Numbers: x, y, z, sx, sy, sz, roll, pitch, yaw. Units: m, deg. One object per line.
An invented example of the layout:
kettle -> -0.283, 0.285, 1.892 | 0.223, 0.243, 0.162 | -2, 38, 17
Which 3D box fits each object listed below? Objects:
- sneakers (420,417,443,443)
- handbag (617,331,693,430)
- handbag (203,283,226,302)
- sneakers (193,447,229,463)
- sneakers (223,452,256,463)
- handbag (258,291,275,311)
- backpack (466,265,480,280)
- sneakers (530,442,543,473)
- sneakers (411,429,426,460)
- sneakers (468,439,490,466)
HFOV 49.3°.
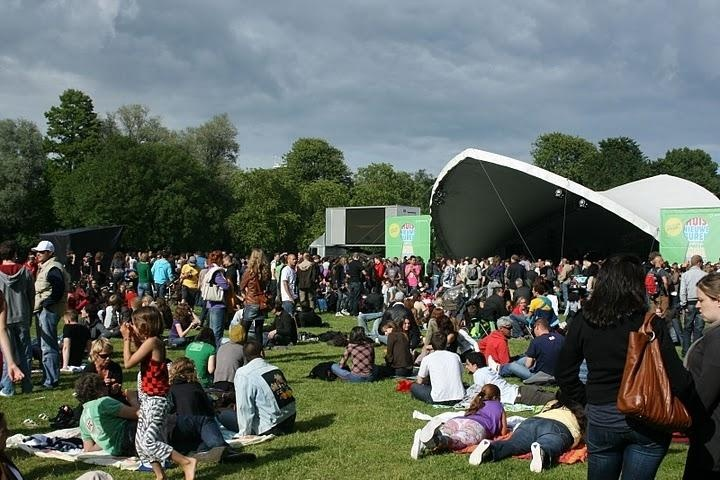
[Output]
sneakers -> 1.113, 2.953, 12.295 | 0.185, 0.188, 0.452 | 13, 39, 33
handbag -> 3.511, 1.718, 9.436 | 0.899, 1.101, 0.386 | 14, -21, -27
handbag -> -3.162, 1.142, 17.013 | 0.461, 0.355, 0.631 | 2, 1, -7
sneakers -> -2.267, 3.223, 11.901 | 0.314, 0.145, 0.250 | 1, 0, 21
sneakers -> -1.834, 3.314, 12.076 | 0.494, 0.218, 0.170 | 0, -2, -6
handbag -> -1.934, 1.327, 17.023 | 0.384, 0.534, 0.298 | 2, -6, -22
backpack -> 4.082, 1.174, 28.351 | 0.431, 0.590, 0.303 | 6, 4, 19
sneakers -> 2.654, 3.261, 11.767 | 0.174, 0.403, 0.167 | -6, -11, 32
sneakers -> 0.904, 3.185, 12.215 | 0.163, 0.468, 0.182 | 1, -26, 17
sneakers -> 1.807, 3.227, 11.940 | 0.121, 0.406, 0.246 | 35, -1, -22
